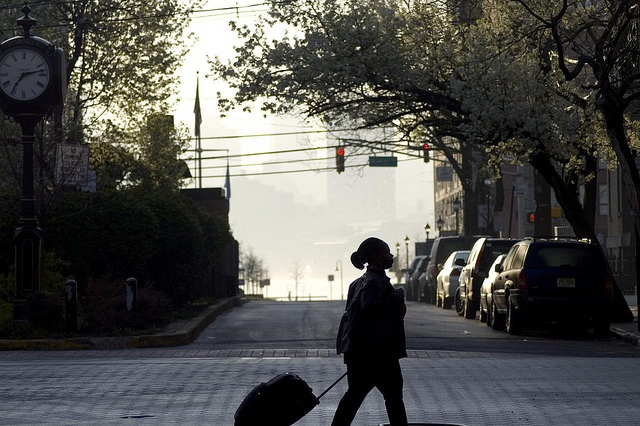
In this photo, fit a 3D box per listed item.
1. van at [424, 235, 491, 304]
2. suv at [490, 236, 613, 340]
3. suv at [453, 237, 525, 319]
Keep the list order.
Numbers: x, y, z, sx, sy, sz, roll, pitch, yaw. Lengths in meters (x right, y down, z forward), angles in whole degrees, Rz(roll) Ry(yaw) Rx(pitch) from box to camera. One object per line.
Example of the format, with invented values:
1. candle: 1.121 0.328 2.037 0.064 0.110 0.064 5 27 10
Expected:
1. van: 5.258 1.807 38.543 1.482 1.837 3.126 -1 0 -3
2. suv: 5.979 1.856 24.620 2.847 2.500 1.852 -2 -2 12
3. suv: 5.084 1.811 30.229 1.399 1.431 2.821 -1 -1 0
